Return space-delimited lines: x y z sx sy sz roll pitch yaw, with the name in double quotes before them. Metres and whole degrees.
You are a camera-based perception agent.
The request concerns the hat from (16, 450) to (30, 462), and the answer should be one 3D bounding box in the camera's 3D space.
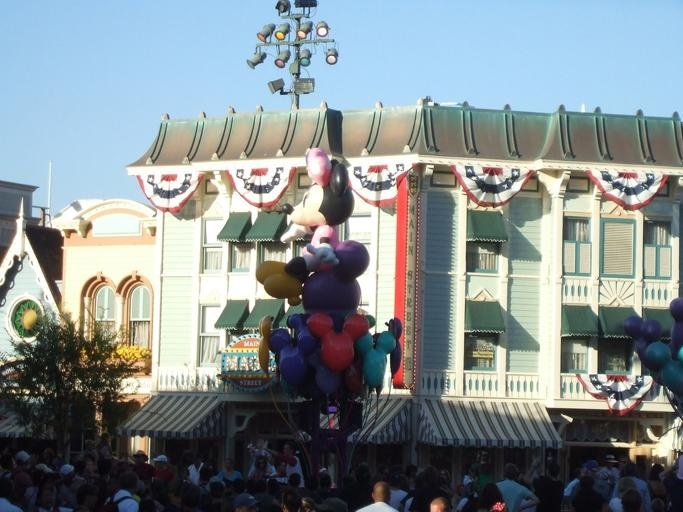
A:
"hat" -9.092 5.648 58.711 0.334 0.272 0.384 -2 1 2
